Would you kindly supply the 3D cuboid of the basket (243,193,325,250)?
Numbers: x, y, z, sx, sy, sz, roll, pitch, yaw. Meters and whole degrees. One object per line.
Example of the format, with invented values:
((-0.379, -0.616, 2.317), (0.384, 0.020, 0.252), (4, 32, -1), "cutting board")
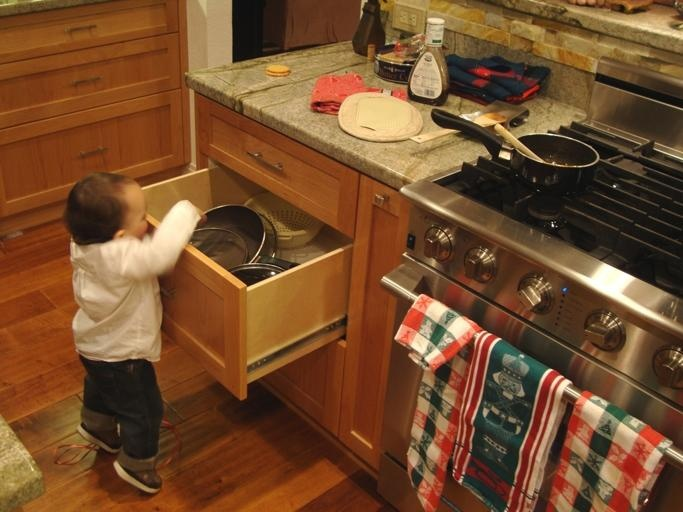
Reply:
((-0.188, -0.128, 1.908), (0.204, 0.075, 0.208), (2, 43, -7), "basket")

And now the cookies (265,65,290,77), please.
((-0.206, -0.610, 1.825), (0.076, 0.017, 0.089), (-1, 38, -6), "cookies")

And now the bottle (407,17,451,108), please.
((0.272, -0.582, 1.663), (0.128, 0.237, 0.092), (9, 37, 8), "bottle")

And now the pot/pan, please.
((0.395, -0.253, 1.336), (0.372, 0.124, 0.174), (23, 48, 27), "pot/pan")

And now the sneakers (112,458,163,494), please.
((-0.618, 0.671, 1.683), (0.121, 0.078, 0.052), (32, 19, -11), "sneakers")
